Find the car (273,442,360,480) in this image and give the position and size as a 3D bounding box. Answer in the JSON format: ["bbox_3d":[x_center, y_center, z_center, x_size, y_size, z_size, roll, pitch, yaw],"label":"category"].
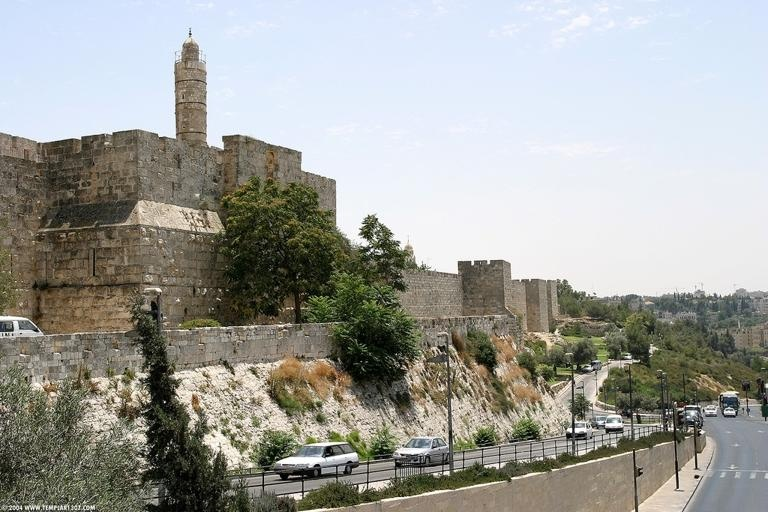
[{"bbox_3d":[-3.175,10.018,49.595,1.737,1.246,3.488,-8,-12,41],"label":"car"}]

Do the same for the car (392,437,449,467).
[{"bbox_3d":[2.088,10.302,53.444,1.244,0.933,2.738,-8,-14,32],"label":"car"}]

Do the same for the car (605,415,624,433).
[{"bbox_3d":[17.836,13.138,79.167,1.004,0.867,2.208,-3,-9,8],"label":"car"}]

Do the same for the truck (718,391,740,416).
[{"bbox_3d":[43.475,18.307,127.655,2.104,2.553,5.618,-2,-15,10],"label":"truck"}]
